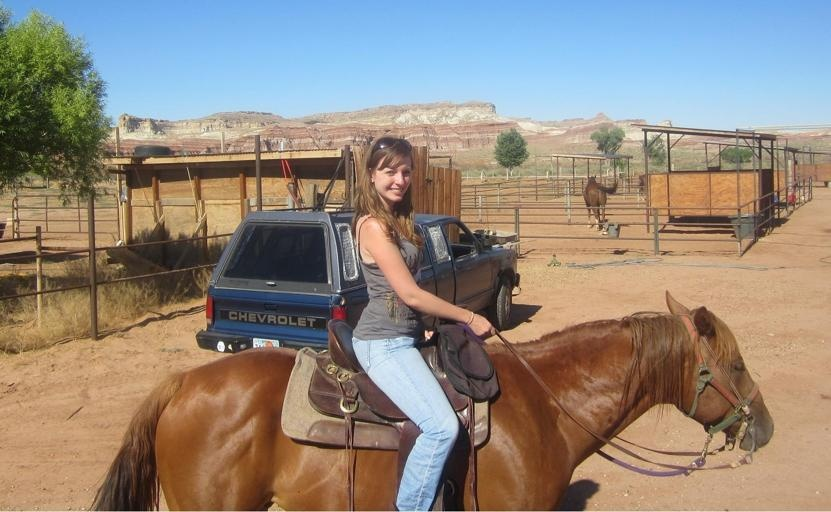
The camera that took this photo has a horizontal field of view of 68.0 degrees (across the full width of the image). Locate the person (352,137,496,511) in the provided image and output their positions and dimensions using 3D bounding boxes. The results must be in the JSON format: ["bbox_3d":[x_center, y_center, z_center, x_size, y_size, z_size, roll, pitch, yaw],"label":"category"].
[{"bbox_3d":[-0.068,0.543,5.300,0.927,3.153,0.570,2,5,32],"label":"person"}]

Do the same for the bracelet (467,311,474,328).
[{"bbox_3d":[0.470,0.535,5.273,0.043,0.098,0.089,13,-15,-10],"label":"bracelet"}]

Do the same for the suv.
[{"bbox_3d":[-0.571,0.217,9.956,2.328,1.761,4.998,2,9,32],"label":"suv"}]

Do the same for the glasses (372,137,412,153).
[{"bbox_3d":[-0.229,-0.960,5.315,0.194,0.058,0.192,-6,-3,38],"label":"glasses"}]
